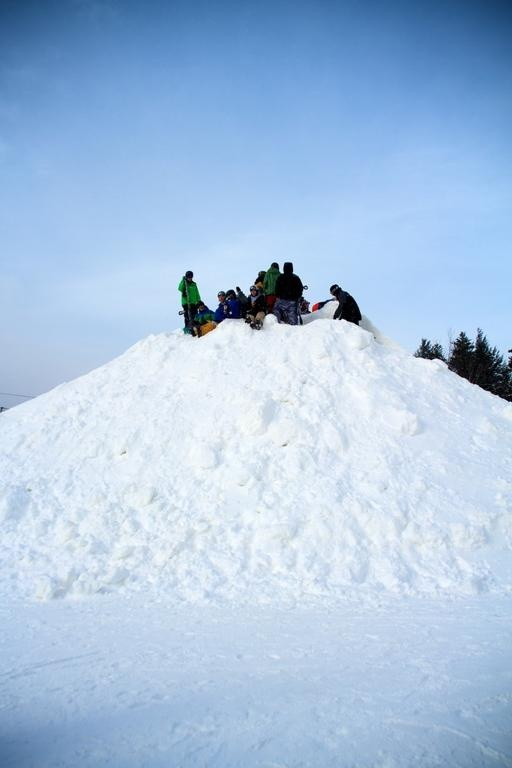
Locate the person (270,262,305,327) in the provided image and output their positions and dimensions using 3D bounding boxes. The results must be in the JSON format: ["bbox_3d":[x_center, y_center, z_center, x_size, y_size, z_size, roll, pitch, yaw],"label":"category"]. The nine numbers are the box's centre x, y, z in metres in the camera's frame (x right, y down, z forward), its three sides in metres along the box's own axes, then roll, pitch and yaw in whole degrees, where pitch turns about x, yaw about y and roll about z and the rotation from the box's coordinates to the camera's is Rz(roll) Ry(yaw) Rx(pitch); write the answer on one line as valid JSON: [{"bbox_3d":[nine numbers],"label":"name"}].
[{"bbox_3d":[0.506,-1.418,11.192,0.461,1.052,0.885,-1,-1,1],"label":"person"}]

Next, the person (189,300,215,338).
[{"bbox_3d":[-0.844,-1.029,11.223,0.419,0.639,0.874,-1,-1,-5],"label":"person"}]

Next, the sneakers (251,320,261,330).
[{"bbox_3d":[0.000,-0.904,10.637,0.152,0.143,0.059,-1,-1,-6],"label":"sneakers"}]

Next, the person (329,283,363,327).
[{"bbox_3d":[1.511,-1.320,11.642,0.465,0.754,1.290,-2,-1,7],"label":"person"}]

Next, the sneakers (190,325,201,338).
[{"bbox_3d":[-0.931,-0.822,10.933,0.136,0.078,0.219,5,30,20],"label":"sneakers"}]

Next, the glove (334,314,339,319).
[{"bbox_3d":[1.314,-1.097,11.371,0.105,0.089,0.150,6,2,15],"label":"glove"}]
